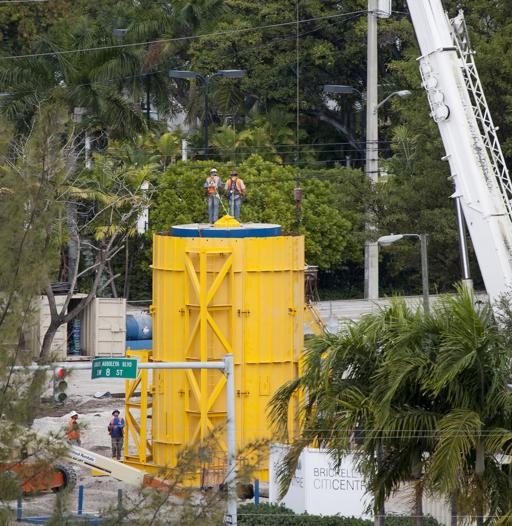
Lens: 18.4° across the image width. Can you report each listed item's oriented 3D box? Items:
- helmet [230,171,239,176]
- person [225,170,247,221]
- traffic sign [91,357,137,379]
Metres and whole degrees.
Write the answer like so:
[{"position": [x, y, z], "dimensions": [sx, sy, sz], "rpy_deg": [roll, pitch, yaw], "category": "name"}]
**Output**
[{"position": [-0.627, -2.492, 44.988], "dimensions": [0.150, 0.159, 0.231], "rpy_deg": [2, -2, 3], "category": "helmet"}, {"position": [-0.608, -1.768, 44.074], "dimensions": [0.660, 1.437, 0.689], "rpy_deg": [14, 21, 37], "category": "person"}, {"position": [-2.872, 2.185, 32.506], "dimensions": [0.535, 0.404, 0.548], "rpy_deg": [3, -2, -36], "category": "traffic sign"}]
